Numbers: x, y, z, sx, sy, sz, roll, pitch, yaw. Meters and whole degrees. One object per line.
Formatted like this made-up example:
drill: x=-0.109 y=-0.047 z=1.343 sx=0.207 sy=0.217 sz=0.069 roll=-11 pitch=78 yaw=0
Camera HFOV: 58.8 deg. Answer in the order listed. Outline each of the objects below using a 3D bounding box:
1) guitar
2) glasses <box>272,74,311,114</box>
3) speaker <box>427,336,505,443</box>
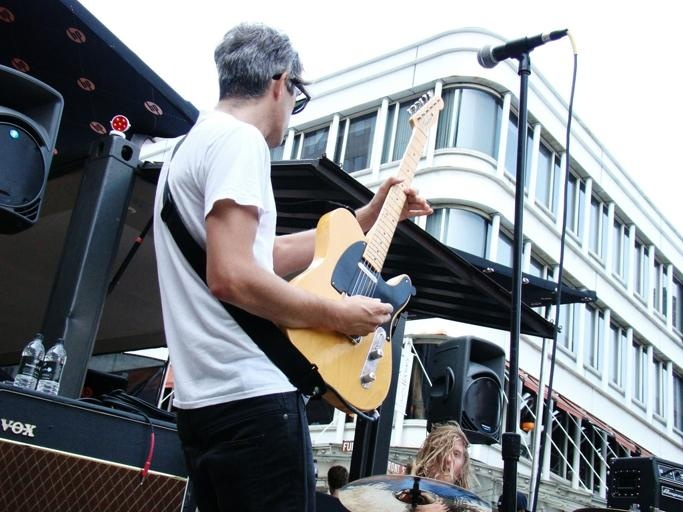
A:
guitar: x=0.157 y=-0.091 z=2.626 sx=0.541 sy=1.559 sz=0.174 roll=36 pitch=-39 yaw=-17
glasses: x=-0.187 y=-0.610 z=2.246 sx=0.033 sy=0.111 sz=0.109 roll=-39 pitch=-13 yaw=25
speaker: x=0.934 y=1.028 z=4.559 sx=0.608 sy=0.840 sz=0.474 roll=17 pitch=-22 yaw=-40
